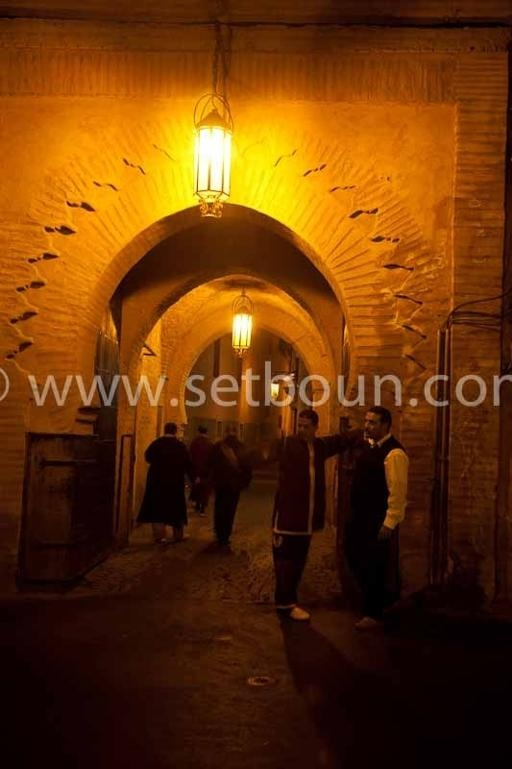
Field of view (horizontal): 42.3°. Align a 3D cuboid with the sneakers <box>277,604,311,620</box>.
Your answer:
[{"bbox_3d":[0.265,1.611,4.713,0.228,0.106,0.095,-1,7,30],"label":"sneakers"}]

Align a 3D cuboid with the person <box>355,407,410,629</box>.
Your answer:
[{"bbox_3d":[0.824,0.884,4.516,0.357,1.459,0.667,1,-4,8],"label":"person"}]

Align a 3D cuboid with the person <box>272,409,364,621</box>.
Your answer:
[{"bbox_3d":[0.405,0.934,4.868,0.547,1.471,0.401,1,-4,2],"label":"person"}]

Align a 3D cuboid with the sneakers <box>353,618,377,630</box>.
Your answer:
[{"bbox_3d":[0.732,1.588,4.419,0.106,0.056,0.079,-7,9,-34],"label":"sneakers"}]

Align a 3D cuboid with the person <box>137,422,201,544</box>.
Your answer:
[{"bbox_3d":[-1.146,1.232,8.340,0.641,1.482,0.362,2,-4,-8],"label":"person"}]
